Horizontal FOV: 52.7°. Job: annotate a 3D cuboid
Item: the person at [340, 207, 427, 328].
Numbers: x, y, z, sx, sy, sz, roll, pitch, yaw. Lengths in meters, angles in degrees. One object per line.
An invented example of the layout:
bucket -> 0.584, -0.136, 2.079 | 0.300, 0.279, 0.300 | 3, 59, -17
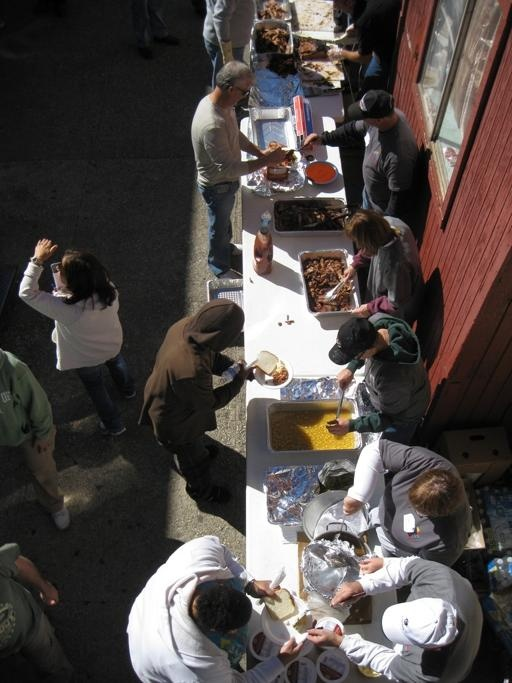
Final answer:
person -> 1.032, -0.575, 4.144 | 0.430, 1.083, 0.461 | -12, 71, 14

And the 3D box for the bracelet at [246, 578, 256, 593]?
bracelet -> -0.029, 1.361, 2.844 | 0.043, 0.022, 0.057 | 7, 81, 60

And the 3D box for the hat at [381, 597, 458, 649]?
hat -> 0.750, 1.335, 2.414 | 0.292, 0.099, 0.193 | -6, 18, 44

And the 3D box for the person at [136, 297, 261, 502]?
person -> -0.405, 0.487, 3.660 | 0.824, 1.716, 0.566 | 2, 40, -1

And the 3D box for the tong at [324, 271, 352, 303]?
tong -> 0.678, -0.425, 4.386 | 0.109, 0.111, 0.363 | 40, 94, -11

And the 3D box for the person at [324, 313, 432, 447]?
person -> 0.799, 0.277, 3.511 | 0.453, 0.970, 0.433 | -15, 65, 11

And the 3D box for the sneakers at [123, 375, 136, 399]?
sneakers -> -1.251, 0.465, 5.093 | 0.107, 0.234, 0.239 | -6, 54, -3

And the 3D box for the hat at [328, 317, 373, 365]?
hat -> 0.601, 0.015, 3.183 | 0.222, 0.351, 0.231 | -39, 57, -23

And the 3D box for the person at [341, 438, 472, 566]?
person -> 0.850, 0.969, 3.019 | 0.384, 0.925, 0.446 | -21, 82, -1

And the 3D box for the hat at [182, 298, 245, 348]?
hat -> -0.237, -0.102, 3.093 | 0.333, 0.263, 0.252 | 8, 18, 18

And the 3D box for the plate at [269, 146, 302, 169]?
plate -> 0.347, -1.891, 5.314 | 0.355, 0.205, 0.256 | 6, 78, 8
